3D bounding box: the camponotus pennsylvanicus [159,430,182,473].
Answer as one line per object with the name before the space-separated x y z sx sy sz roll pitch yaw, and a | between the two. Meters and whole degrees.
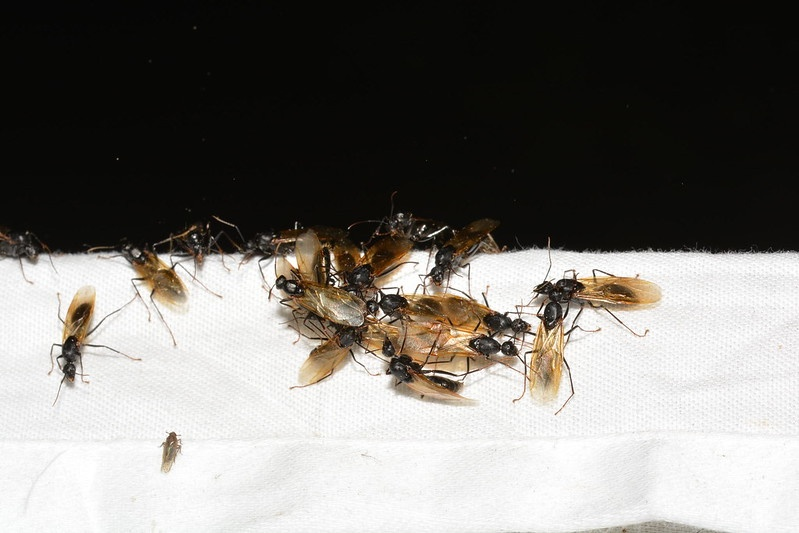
camponotus pennsylvanicus | -1.712 1.390 5.632 0.191 0.076 0.243 10 79 8
